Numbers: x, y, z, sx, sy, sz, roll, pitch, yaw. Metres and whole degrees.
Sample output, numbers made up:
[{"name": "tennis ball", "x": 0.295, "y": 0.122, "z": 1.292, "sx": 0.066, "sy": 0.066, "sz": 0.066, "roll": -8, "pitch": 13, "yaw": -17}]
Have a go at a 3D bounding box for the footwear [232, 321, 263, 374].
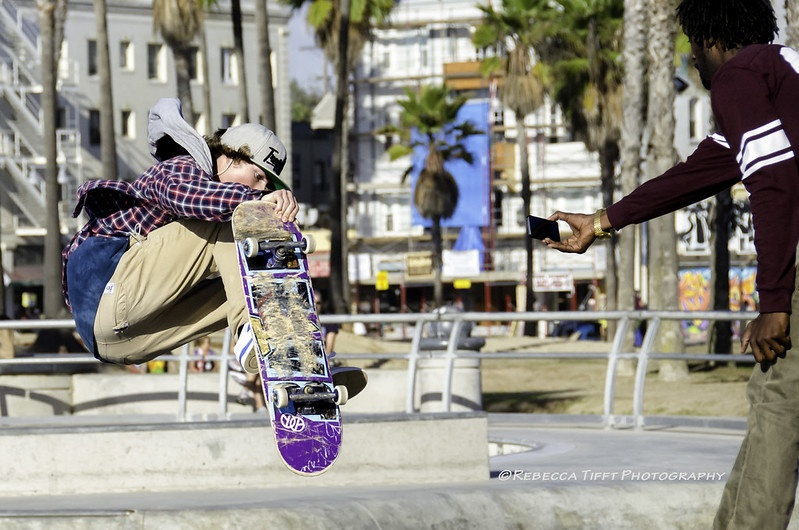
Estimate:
[{"name": "footwear", "x": -3.294, "y": 1.694, "z": 49.213, "sx": 0.598, "sy": 1.014, "sz": 0.368, "roll": -22, "pitch": -1, "yaw": 35}]
